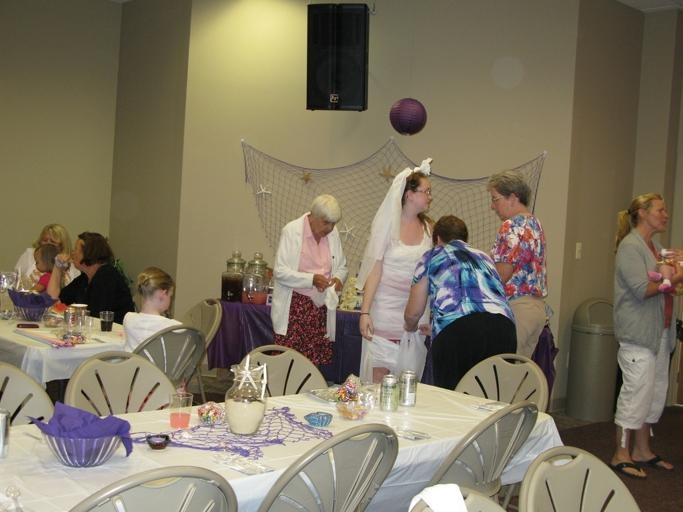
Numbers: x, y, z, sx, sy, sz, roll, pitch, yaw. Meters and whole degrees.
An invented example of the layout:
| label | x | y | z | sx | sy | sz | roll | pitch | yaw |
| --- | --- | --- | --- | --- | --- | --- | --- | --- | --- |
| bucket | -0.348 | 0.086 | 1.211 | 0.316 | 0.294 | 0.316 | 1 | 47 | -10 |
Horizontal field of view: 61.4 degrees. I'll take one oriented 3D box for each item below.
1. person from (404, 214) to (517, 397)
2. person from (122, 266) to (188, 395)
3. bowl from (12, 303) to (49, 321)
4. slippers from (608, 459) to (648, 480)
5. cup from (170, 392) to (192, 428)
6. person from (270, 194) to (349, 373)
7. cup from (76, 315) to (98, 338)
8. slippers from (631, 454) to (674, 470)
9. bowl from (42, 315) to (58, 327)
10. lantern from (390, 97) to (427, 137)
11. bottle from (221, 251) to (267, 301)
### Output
| label | x | y | z | sx | sy | sz | roll | pitch | yaw |
| --- | --- | --- | --- | --- | --- | --- | --- | --- | --- |
| person | 0.643 | 0.437 | 3.194 | 0.658 | 1.302 | 0.596 | -3 | -7 | 33 |
| person | -1.087 | 0.557 | 3.338 | 0.305 | 1.010 | 0.302 | 14 | 21 | 16 |
| bowl | -2.190 | 0.403 | 4.048 | 0.143 | 0.060 | 0.152 | 2 | 3 | 0 |
| slippers | 1.983 | 1.471 | 3.946 | 0.093 | 0.059 | 0.174 | -4 | 2 | -40 |
| cup | -0.566 | 0.554 | 2.028 | 0.077 | 0.128 | 0.076 | 4 | -8 | 1 |
| person | -0.220 | 0.358 | 4.257 | 0.551 | 1.635 | 0.520 | -2 | 26 | -18 |
| cup | -1.698 | 0.477 | 3.862 | 0.143 | 0.184 | 0.146 | 0 | 4 | 0 |
| slippers | 2.224 | 1.478 | 4.107 | 0.254 | 0.091 | 0.112 | -2 | -1 | 13 |
| bowl | -2.030 | 0.464 | 4.019 | 0.080 | 0.039 | 0.099 | 5 | -1 | 7 |
| lantern | 0.630 | -1.246 | 5.269 | 0.295 | 0.391 | 0.316 | -1 | 4 | -9 |
| bottle | -0.927 | 0.208 | 5.541 | 0.402 | 0.533 | 0.249 | 3 | 4 | 18 |
